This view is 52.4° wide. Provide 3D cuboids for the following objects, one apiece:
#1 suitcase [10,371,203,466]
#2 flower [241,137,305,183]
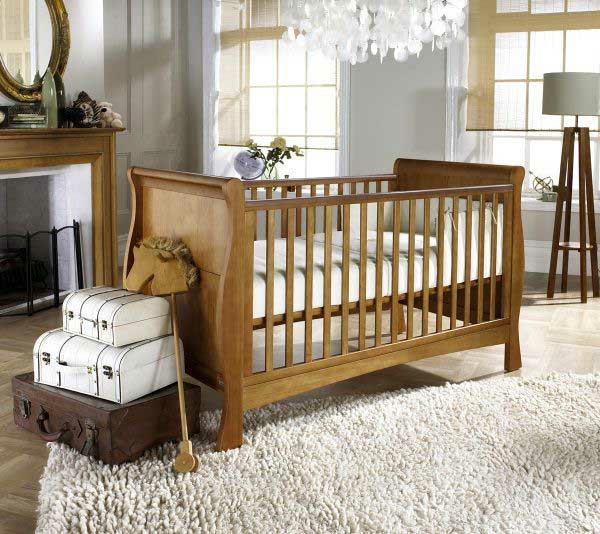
[{"bbox_3d":[-0.606,0.500,2.039,0.356,0.139,0.295,3,4,37],"label":"suitcase"},{"bbox_3d":[-0.190,-0.820,4.754,0.432,0.376,0.450,2,2,40],"label":"flower"}]
